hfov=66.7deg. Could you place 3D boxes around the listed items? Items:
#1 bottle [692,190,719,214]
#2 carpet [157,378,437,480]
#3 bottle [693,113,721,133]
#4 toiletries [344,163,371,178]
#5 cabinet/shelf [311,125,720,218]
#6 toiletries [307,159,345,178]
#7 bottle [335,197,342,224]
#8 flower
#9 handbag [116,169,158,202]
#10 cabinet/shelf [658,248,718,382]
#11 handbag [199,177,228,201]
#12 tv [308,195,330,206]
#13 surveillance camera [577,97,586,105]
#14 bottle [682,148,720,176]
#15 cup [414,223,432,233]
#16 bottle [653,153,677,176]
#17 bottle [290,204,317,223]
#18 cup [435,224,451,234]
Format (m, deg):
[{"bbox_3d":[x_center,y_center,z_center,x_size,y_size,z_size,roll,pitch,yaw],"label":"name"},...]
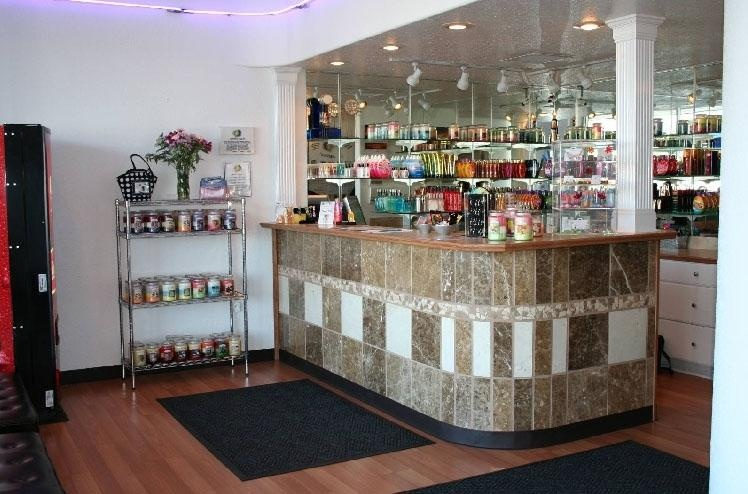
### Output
[{"bbox_3d":[4.433,-0.590,7.622,0.465,0.294,0.289,-5,-11,-39],"label":"bottle"},{"bbox_3d":[-0.748,1.591,5.096,1.580,0.043,1.942,-7,10,-35],"label":"carpet"},{"bbox_3d":[4.727,-1.760,8.113,0.312,0.266,0.178,3,10,26],"label":"bottle"},{"bbox_3d":[-0.242,-1.107,8.288,0.362,0.212,0.174,-1,9,-2],"label":"toiletries"},{"bbox_3d":[2.255,-1.194,8.221,3.090,0.667,2.733,-2,5,-36],"label":"cabinet/shelf"},{"bbox_3d":[-0.676,-1.097,8.110,0.655,0.221,0.148,-6,10,-32],"label":"toiletries"},{"bbox_3d":[-0.418,-0.395,6.551,0.091,0.244,0.263,-2,9,-4],"label":"bottle"},{"bbox_3d":[-2.201,-0.946,6.555,0.690,0.789,0.849,-4,7,-35],"label":"flower"},{"bbox_3d":[-2.487,-0.636,6.096,0.492,0.412,0.340,0,-6,-18],"label":"handbag"},{"bbox_3d":[3.389,0.731,6.204,0.629,1.277,0.325,7,12,42],"label":"cabinet/shelf"},{"bbox_3d":[-1.809,-0.617,6.466,0.359,0.281,0.251,0,0,-24],"label":"handbag"},{"bbox_3d":[-0.780,-0.667,7.866,0.205,0.113,0.542,0,9,6],"label":"tv"},{"bbox_3d":[3.654,-2.561,10.000,0.154,0.079,0.053,9,17,3],"label":"surveillance camera"},{"bbox_3d":[4.626,-1.212,8.096,0.465,0.383,0.238,3,10,26],"label":"bottle"},{"bbox_3d":[0.492,-0.188,5.682,0.146,0.094,0.210,0,9,7],"label":"cup"},{"bbox_3d":[4.213,-1.174,8.263,0.341,0.306,0.299,1,9,9],"label":"bottle"},{"bbox_3d":[-0.817,-0.384,6.806,0.376,0.198,0.225,-5,9,-24],"label":"bottle"},{"bbox_3d":[0.637,-0.169,5.352,0.146,0.107,0.129,0,9,4],"label":"cup"}]
